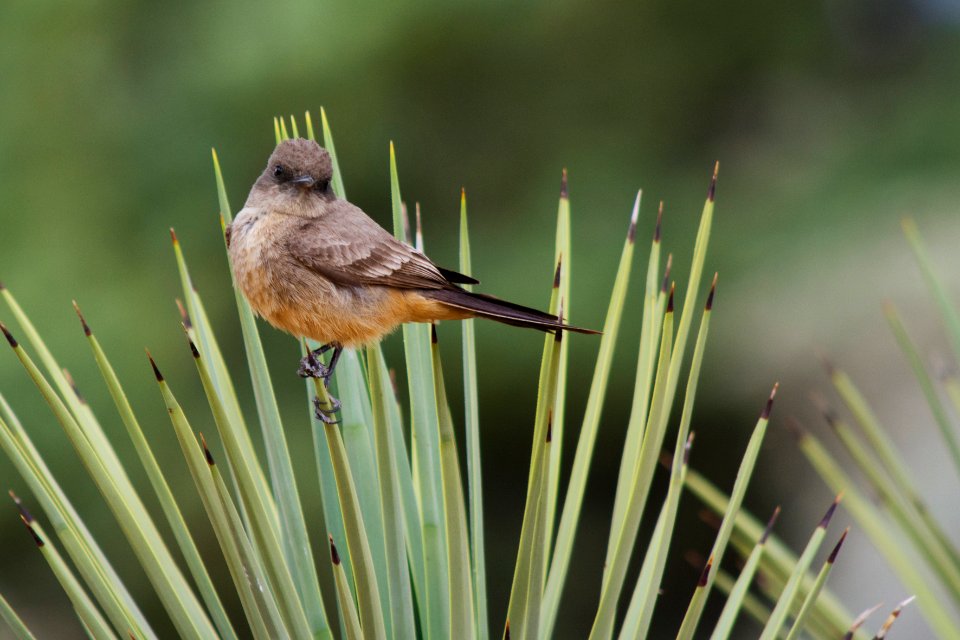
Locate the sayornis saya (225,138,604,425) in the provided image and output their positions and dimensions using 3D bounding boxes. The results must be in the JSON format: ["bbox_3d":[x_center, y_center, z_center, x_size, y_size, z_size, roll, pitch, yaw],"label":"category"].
[{"bbox_3d":[-0.473,-0.239,3.695,1.109,0.840,0.532,13,19,38],"label":"sayornis saya"}]
